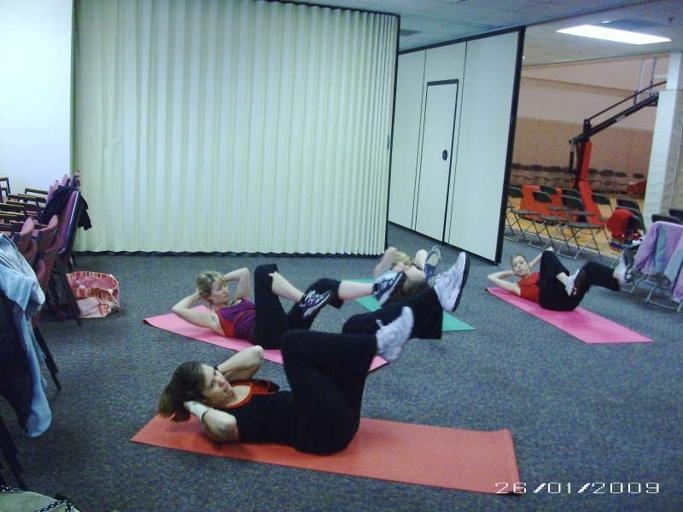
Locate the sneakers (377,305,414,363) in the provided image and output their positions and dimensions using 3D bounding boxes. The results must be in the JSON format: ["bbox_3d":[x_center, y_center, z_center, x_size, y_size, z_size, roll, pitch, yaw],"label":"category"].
[{"bbox_3d":[0.344,0.493,3.022,0.181,0.139,0.349,19,44,17],"label":"sneakers"}]

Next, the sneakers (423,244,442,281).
[{"bbox_3d":[0.975,0.083,5.056,0.145,0.445,0.167,22,-20,-27],"label":"sneakers"}]

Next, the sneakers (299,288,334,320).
[{"bbox_3d":[-0.219,0.389,4.001,0.182,0.384,0.136,40,35,-16],"label":"sneakers"}]

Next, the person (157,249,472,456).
[{"bbox_3d":[0.047,0.586,3.429,1.098,1.068,2.368,15,19,38],"label":"person"}]

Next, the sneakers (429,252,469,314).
[{"bbox_3d":[0.892,0.285,3.915,0.271,0.629,0.206,15,26,7],"label":"sneakers"}]

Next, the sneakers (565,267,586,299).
[{"bbox_3d":[2.657,0.312,5.458,0.184,0.362,0.157,11,17,29],"label":"sneakers"}]
